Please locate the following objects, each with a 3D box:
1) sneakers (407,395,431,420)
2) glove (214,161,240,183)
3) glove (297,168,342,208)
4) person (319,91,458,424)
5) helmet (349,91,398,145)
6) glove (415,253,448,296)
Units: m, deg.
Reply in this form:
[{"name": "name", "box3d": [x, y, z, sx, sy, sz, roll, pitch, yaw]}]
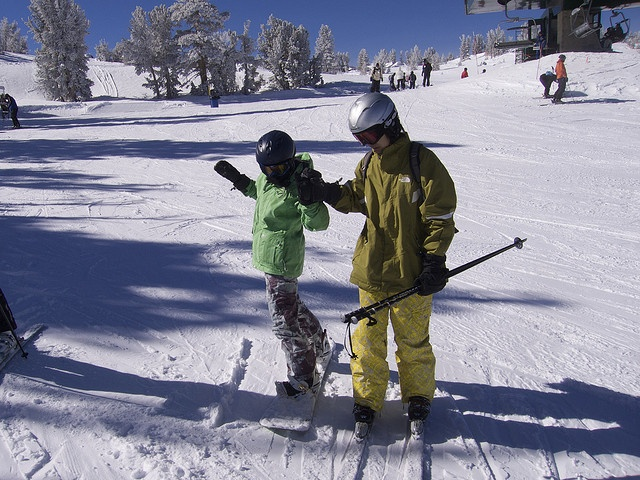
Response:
[{"name": "sneakers", "box3d": [0.978, 1.645, 5.331, 0.190, 0.201, 0.227, 2, -20, 13]}, {"name": "glove", "box3d": [-0.986, -0.719, 5.827, 0.173, 0.306, 0.079, -56, 20, -17]}, {"name": "glove", "box3d": [0.020, -0.473, 5.128, 0.407, 0.302, 0.197, 6, 8, -17]}, {"name": "person", "box3d": [0.668, 0.200, 5.319, 1.216, 3.078, 1.185, 7, 24, 23]}, {"name": "helmet", "box3d": [0.538, -1.167, 5.364, 0.449, 0.497, 0.584, 8, 27, 37]}, {"name": "glove", "box3d": [1.152, 0.318, 5.239, 0.260, 0.367, 0.361, -2, 13, -15]}]
